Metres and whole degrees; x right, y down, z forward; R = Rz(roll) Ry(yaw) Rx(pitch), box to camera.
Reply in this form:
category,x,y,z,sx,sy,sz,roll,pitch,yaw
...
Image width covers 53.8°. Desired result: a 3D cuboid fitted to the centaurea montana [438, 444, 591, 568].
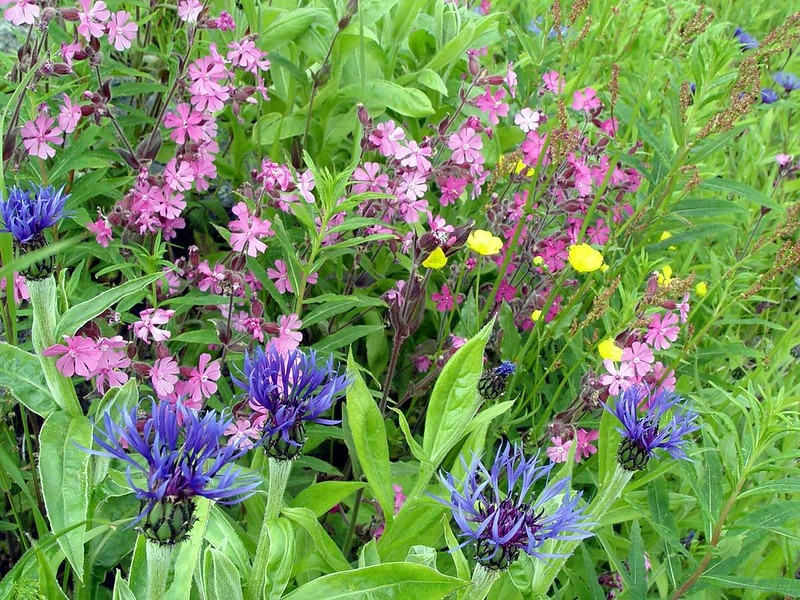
category,x,y,z,sx,sy,sz,roll,pitch,yaw
centaurea montana,0.226,0.508,1.722,0.219,0.248,0.219,11,72,-5

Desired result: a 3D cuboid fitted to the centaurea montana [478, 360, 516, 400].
category,x,y,z,sx,sy,sz,roll,pitch,yaw
centaurea montana,0.269,0.221,2.203,0.075,0.071,0.127,47,46,-1

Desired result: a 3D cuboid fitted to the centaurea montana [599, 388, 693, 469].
category,x,y,z,sx,sy,sz,roll,pitch,yaw
centaurea montana,0.672,0.324,1.998,0.180,0.230,0.202,5,-7,27

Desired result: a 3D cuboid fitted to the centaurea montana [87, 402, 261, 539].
category,x,y,z,sx,sy,sz,roll,pitch,yaw
centaurea montana,-0.518,0.383,1.769,0.243,0.202,0.256,31,1,34
